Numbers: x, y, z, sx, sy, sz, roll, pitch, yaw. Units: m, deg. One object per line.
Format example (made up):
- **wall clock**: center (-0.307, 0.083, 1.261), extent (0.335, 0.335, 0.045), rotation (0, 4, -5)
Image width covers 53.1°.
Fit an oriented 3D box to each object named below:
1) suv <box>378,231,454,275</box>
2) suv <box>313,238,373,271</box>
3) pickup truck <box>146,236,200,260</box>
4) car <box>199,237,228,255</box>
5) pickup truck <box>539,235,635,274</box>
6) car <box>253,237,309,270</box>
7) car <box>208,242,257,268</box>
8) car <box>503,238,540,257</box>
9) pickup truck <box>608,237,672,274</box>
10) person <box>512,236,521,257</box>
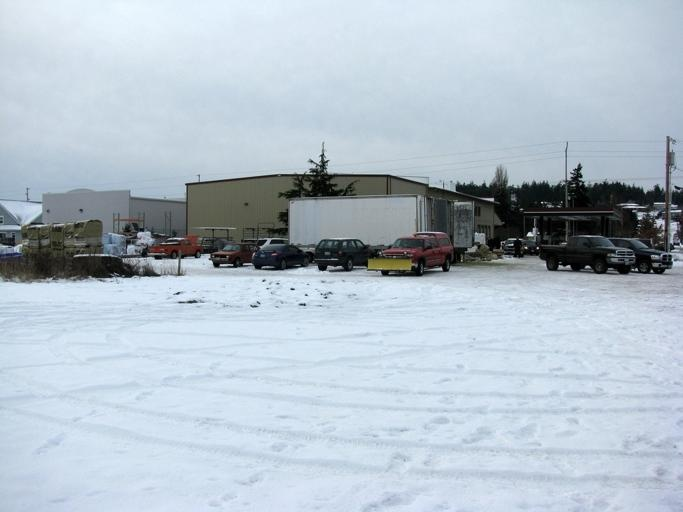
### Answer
- **suv**: center (2.977, -0.112, 27.865), extent (1.529, 1.269, 2.956), rotation (-1, -2, 30)
- **suv**: center (0.191, -0.095, 30.297), extent (1.193, 0.905, 2.441), rotation (1, 5, 32)
- **pickup truck**: center (-10.502, -0.441, 42.976), extent (1.601, 1.370, 3.676), rotation (-1, -2, 26)
- **car**: center (-9.211, -0.811, 49.861), extent (1.355, 1.261, 2.578), rotation (0, 1, 11)
- **pickup truck**: center (10.541, -0.040, 29.139), extent (1.743, 1.244, 3.028), rotation (0, -1, -38)
- **car**: center (-2.706, -0.040, 31.763), extent (1.063, 0.771, 2.279), rotation (1, 5, 26)
- **car**: center (-5.452, -0.047, 34.581), extent (1.025, 0.817, 2.308), rotation (-1, 0, 24)
- **car**: center (13.393, -0.861, 50.268), extent (1.692, 1.180, 3.200), rotation (0, -2, 21)
- **pickup truck**: center (13.173, -0.023, 30.255), extent (1.349, 1.182, 2.821), rotation (-2, 1, -30)
- **person**: center (12.068, -0.484, 46.947), extent (0.390, 1.362, 3.146), rotation (2, 8, 17)
